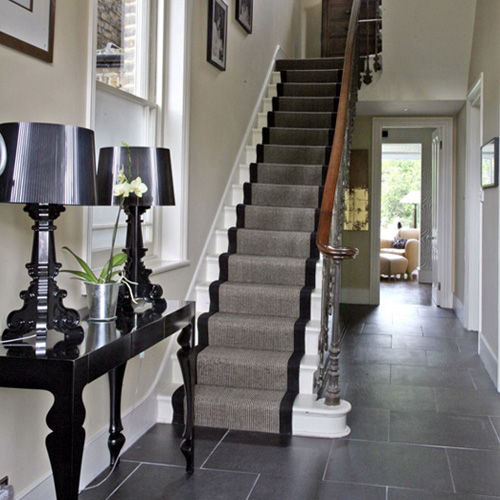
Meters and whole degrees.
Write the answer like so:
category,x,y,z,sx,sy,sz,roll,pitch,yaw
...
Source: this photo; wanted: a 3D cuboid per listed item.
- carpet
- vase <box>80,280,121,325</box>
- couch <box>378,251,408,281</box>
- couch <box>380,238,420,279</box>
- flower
category,x,y,z,sx,sy,sz,roll,pitch,yaw
carpet,0.083,-0.084,3.746,0.743,1.469,2.965,0,27,7
vase,-0.558,0.197,1.720,0.120,0.162,0.139,0,-4,-1
couch,3.130,0.363,10.011,1.050,0.527,0.449,-2,4,-43
couch,3.314,0.245,10.129,0.870,0.939,0.868,-4,-10,38
flower,-0.653,-0.085,1.910,0.304,0.556,0.443,3,8,-37
